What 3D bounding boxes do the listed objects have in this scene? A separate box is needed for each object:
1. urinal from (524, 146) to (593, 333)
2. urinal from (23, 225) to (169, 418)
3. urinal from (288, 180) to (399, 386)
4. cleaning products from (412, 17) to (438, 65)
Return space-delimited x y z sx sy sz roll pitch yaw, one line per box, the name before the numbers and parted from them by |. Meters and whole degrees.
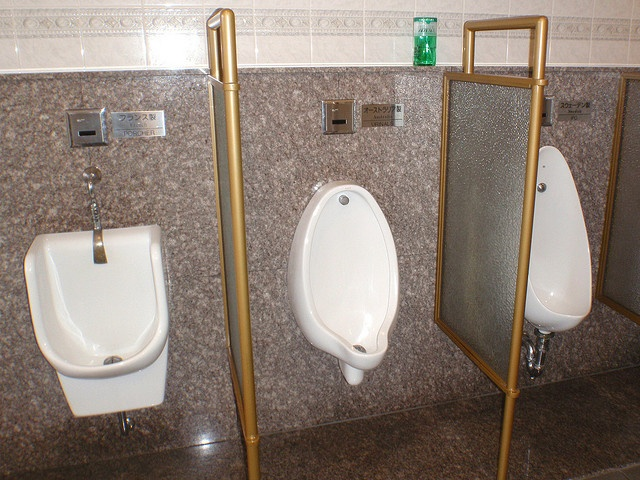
urinal | 1.049 0.023 2.427 0.331 0.754 0.394 -7 27 6
urinal | -0.835 0.330 2.106 0.498 0.681 0.371 -10 23 -18
urinal | 0.097 0.144 2.290 0.463 0.830 0.566 -10 40 -11
cleaning products | 0.450 -0.850 2.290 0.100 0.194 0.059 1 22 8
